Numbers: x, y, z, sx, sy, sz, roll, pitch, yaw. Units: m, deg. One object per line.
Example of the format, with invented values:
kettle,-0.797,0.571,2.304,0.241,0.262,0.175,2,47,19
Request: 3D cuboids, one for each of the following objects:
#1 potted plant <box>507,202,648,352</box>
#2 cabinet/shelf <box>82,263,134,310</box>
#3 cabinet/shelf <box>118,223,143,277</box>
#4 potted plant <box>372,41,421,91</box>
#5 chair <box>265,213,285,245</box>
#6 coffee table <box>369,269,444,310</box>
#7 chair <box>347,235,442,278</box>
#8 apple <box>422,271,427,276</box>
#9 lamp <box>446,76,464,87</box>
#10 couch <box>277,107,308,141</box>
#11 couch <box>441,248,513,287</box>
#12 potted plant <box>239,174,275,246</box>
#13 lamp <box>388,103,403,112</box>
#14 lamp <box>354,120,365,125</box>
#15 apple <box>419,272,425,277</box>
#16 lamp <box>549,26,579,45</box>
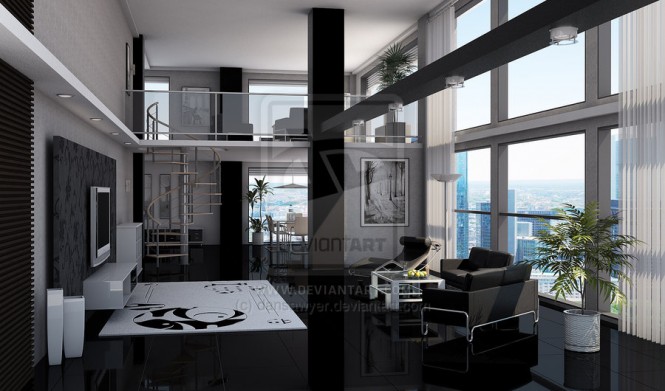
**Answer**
potted plant,4.099,1.445,8.413,2.572,2.744,2.421,0,-5,9
cabinet/shelf,-4.074,1.661,8.197,0.692,0.413,1.958,-1,3,-15
cabinet/shelf,-4.815,1.226,10.929,0.318,0.628,0.811,-14,11,-1
potted plant,1.746,-3.561,12.941,1.029,1.149,1.063,11,5,43
chair,-1.858,1.211,14.901,0.783,0.899,0.798,6,1,7
coffee table,1.408,1.885,9.285,0.899,0.484,1.185,1,-4,-11
chair,1.439,1.445,10.665,1.929,0.773,1.284,-2,-4,-20
apple,1.867,1.609,9.213,0.119,0.043,0.131,0,1,0
lamp,2.201,-2.048,8.150,0.236,0.112,0.216,0,-1,2
couch,-1.105,-1.888,11.916,0.960,0.785,0.861,0,-2,6
couch,2.997,1.571,9.583,0.857,0.721,1.442,-1,1,-13
potted plant,-2.756,0.515,16.504,0.938,2.408,1.305,2,10,6
lamp,1.327,-1.888,9.570,0.250,0.136,0.181,3,10,18
lamp,0.628,-1.858,11.587,0.174,0.072,0.218,1,-2,-17
apple,1.795,1.611,9.126,0.094,0.043,0.100,1,-2,11
lamp,3.323,-2.292,6.606,0.312,0.159,0.285,0,-2,5
